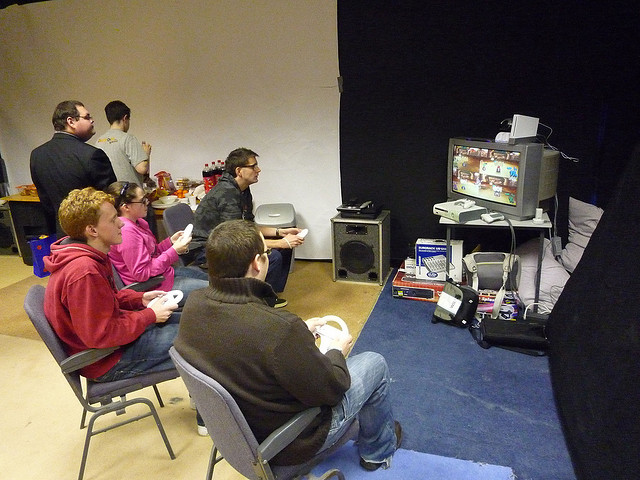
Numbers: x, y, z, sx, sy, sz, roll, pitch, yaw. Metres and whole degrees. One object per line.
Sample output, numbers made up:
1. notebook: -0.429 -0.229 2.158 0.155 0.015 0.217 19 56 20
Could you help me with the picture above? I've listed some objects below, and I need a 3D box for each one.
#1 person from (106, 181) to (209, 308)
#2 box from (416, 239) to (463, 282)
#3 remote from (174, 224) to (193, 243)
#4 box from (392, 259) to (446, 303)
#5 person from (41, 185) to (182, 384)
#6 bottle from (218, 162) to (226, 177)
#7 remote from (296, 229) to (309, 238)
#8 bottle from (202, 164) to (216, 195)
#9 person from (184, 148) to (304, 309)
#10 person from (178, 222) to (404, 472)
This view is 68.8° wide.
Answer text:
1. person: -1.098 0.187 3.369 0.735 1.211 0.519 -7 18 -23
2. box: 1.069 0.155 4.241 0.399 0.368 0.219 0 22 16
3. remote: -0.932 -0.022 3.250 0.081 0.173 0.042 13 -16 33
4. box: 0.897 0.370 4.317 0.390 0.268 0.280 7 15 12
5. person: -1.136 0.240 2.583 0.642 0.989 0.512 -4 16 -16
6. bottle: -1.061 -0.765 5.015 0.070 0.121 0.229 -3 16 -12
7. remote: -0.159 -0.064 4.082 0.024 0.059 0.178 21 -5 -12
8. bottle: -1.188 -0.665 5.002 0.125 0.255 0.511 -4 16 -14
9. person: -0.673 -0.072 4.034 0.995 1.359 0.605 1 11 3
10. person: -0.150 0.587 2.576 0.740 1.339 0.932 21 45 32
